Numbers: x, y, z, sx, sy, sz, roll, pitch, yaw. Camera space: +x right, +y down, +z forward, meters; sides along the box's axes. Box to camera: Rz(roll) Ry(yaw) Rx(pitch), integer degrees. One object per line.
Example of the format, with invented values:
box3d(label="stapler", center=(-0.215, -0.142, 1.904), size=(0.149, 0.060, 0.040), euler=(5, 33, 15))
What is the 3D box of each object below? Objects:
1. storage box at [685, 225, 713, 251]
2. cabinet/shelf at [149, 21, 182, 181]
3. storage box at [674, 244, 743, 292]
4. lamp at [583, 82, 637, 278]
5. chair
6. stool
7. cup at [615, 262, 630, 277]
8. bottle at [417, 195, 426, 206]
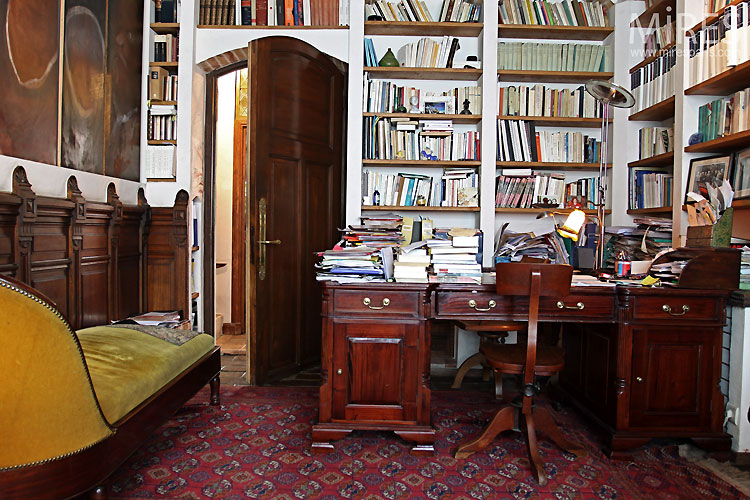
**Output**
box3d(label="storage box", center=(2.268, -0.097, 4.029), size=(0.158, 0.111, 0.148), euler=(1, -2, -6))
box3d(label="cabinet/shelf", center=(-1.924, -1.311, 5.288), size=(0.448, 1.378, 0.420), euler=(-1, 10, -28))
box3d(label="storage box", center=(2.212, 0.107, 3.835), size=(0.331, 0.221, 0.327), euler=(-1, 2, -2))
box3d(label="lamp", center=(1.684, -0.510, 4.233), size=(0.510, 1.527, 0.381), euler=(0, -12, 6))
box3d(label="chair", center=(1.025, 0.734, 3.937), size=(0.924, 1.269, 0.957), euler=(1, 2, 0))
box3d(label="stool", center=(0.961, 0.879, 4.799), size=(0.609, 0.556, 0.507), euler=(7, -2, 36))
box3d(label="cup", center=(1.793, 0.140, 4.207), size=(0.112, 0.109, 0.108), euler=(2, -4, 0))
box3d(label="bottle", center=(0.420, -0.438, 5.181), size=(0.063, 0.069, 0.080), euler=(0, -2, 8))
